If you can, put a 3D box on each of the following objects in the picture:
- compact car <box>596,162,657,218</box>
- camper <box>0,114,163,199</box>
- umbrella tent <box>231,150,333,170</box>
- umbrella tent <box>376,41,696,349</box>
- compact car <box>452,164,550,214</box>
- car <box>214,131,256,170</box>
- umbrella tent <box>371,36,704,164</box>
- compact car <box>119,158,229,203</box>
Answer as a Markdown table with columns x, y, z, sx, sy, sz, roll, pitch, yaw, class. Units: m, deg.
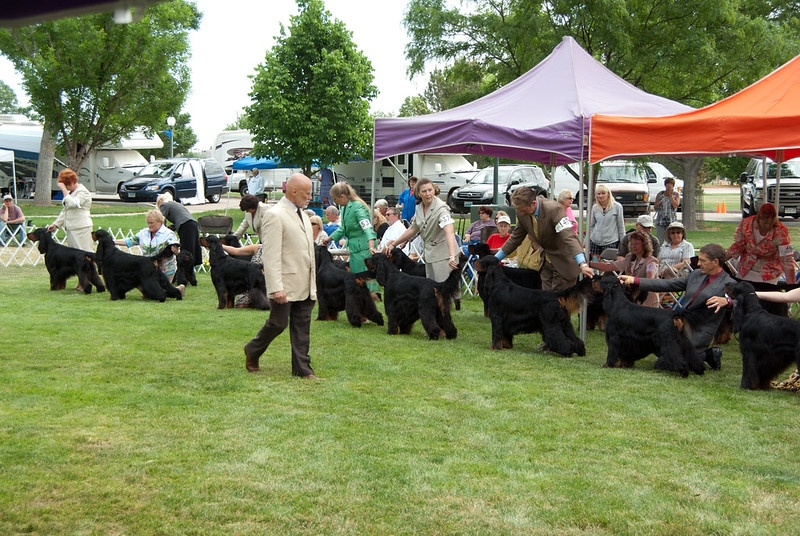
| x | y | z | sx | sy | sz | roll | pitch | yaw | class |
| --- | --- | --- | --- | --- | --- | --- | --- | --- | --- |
| 8.365 | -3.101 | 26.667 | 2.454 | 2.011 | 4.332 | 0 | 1 | 11 | compact car |
| -14.707 | -4.716 | 34.687 | 9.324 | 4.265 | 3.549 | -1 | 11 | -26 | camper |
| -4.393 | -4.153 | 28.362 | 2.113 | 0.476 | 1.965 | 2 | 10 | 7 | umbrella tent |
| 2.876 | -2.143 | 12.609 | 4.734 | 2.892 | 4.546 | -6 | 15 | -7 | umbrella tent |
| 3.678 | -3.008 | 27.218 | 4.005 | 1.612 | 1.985 | -3 | 4 | -42 | compact car |
| -8.336 | -6.062 | 38.894 | 2.836 | 2.143 | 1.769 | 1 | 5 | 22 | car |
| 2.846 | -3.090 | 13.242 | 5.817 | 1.880 | 5.773 | -9 | 15 | -26 | umbrella tent |
| -9.398 | -3.777 | 31.989 | 2.219 | 1.656 | 4.478 | -2 | -1 | 33 | compact car |
